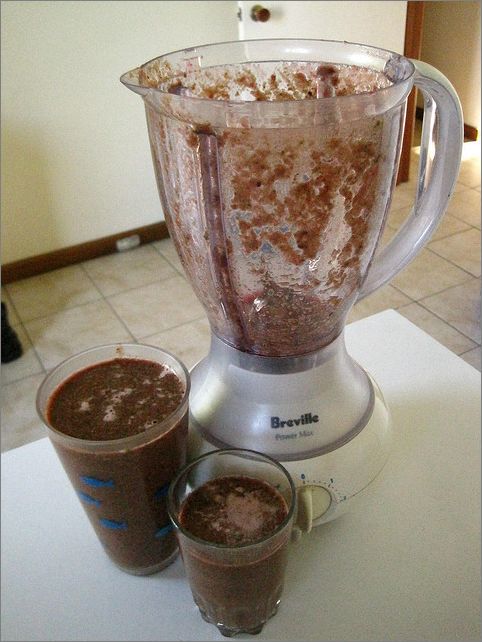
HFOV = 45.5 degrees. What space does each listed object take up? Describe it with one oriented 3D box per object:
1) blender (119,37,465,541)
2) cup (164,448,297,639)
[{"bbox_3d":[0.040,-0.036,0.494,0.211,0.356,0.264,15,41,27],"label":"blender"},{"bbox_3d":[0.000,0.171,0.443,0.090,0.136,0.091,-5,36,3],"label":"cup"}]
